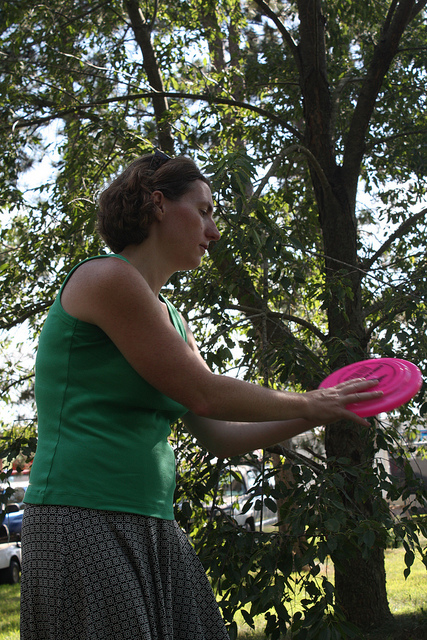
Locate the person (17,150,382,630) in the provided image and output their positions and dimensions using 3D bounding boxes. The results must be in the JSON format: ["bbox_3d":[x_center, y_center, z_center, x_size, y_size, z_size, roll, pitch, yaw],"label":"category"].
[{"bbox_3d":[-0.098,0.177,1.879,0.804,1.319,0.459,4,-20,-36],"label":"person"}]
